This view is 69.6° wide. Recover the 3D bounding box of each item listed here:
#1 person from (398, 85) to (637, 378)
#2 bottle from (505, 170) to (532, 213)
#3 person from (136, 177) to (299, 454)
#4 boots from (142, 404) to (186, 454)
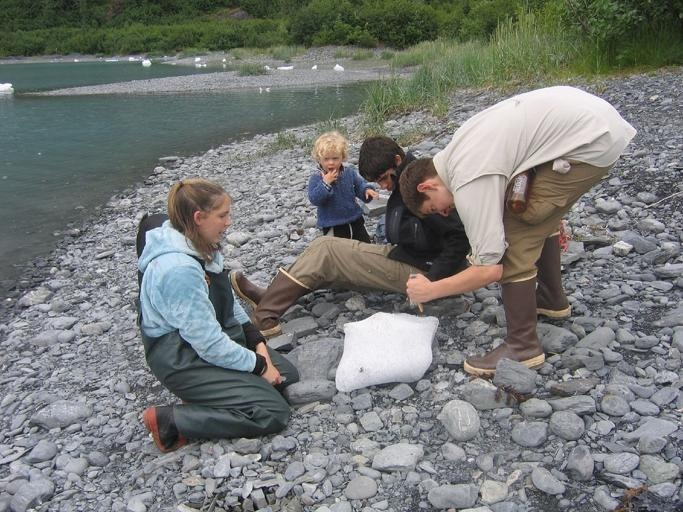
[{"bbox_3d":[1.145,-0.141,3.352,1.452,1.808,0.794,-19,29,-18],"label":"person"},{"bbox_3d":[1.103,-0.406,3.093,0.172,0.168,0.258,4,54,30],"label":"bottle"},{"bbox_3d":[-0.925,0.371,3.320,0.994,1.622,0.935,-10,28,0],"label":"person"},{"bbox_3d":[-1.170,1.149,3.273,0.195,0.323,0.155,-24,31,-24],"label":"boots"}]
